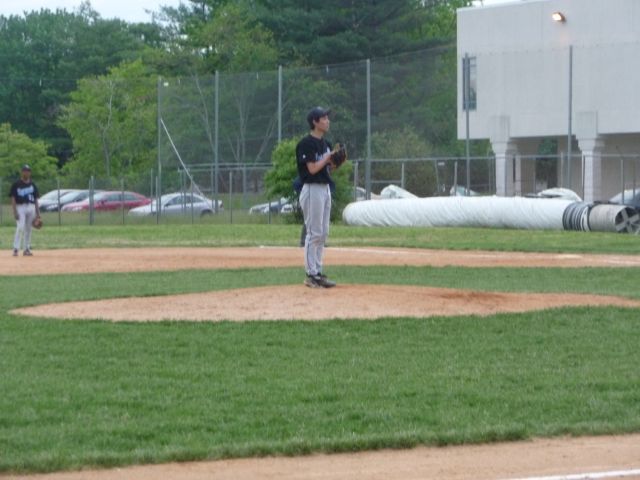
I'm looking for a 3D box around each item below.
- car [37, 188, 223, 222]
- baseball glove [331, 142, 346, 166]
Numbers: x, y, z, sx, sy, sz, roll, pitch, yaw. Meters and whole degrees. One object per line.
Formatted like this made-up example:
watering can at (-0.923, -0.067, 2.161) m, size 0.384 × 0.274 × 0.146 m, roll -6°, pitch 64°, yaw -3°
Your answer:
car at (-9.861, -1.846, 74.147) m, size 7.482 × 2.705 × 3.292 m, roll 2°, pitch -1°, yaw -29°
baseball glove at (0.647, -2.738, 47.048) m, size 0.459 × 0.697 × 0.488 m, roll 0°, pitch 1°, yaw 18°
